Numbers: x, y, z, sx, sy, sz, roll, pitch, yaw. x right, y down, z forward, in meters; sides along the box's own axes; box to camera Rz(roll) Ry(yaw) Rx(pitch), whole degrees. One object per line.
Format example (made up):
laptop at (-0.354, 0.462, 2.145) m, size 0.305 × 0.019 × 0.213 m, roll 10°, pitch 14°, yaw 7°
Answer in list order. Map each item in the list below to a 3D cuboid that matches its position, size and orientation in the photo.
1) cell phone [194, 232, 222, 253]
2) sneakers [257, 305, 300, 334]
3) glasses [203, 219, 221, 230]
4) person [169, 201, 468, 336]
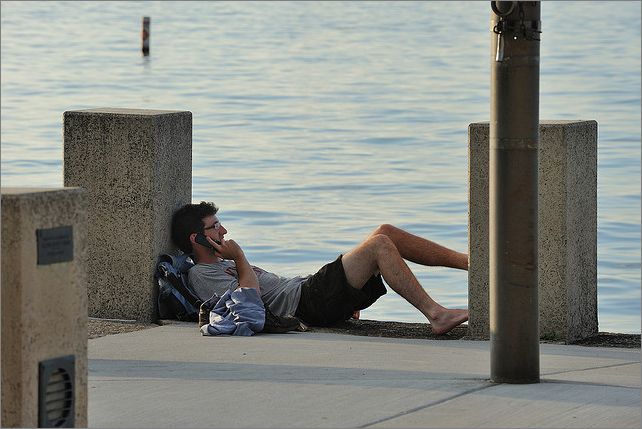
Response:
cell phone at (-1.192, 0.273, 15.289) m, size 0.308 × 0.140 × 0.066 m, roll 24°, pitch -4°, yaw -12°
sneakers at (-0.374, 1.073, 14.562) m, size 0.364 × 0.184 × 0.267 m, roll 1°, pitch 12°, yaw 1°
glasses at (-1.113, 0.092, 15.346) m, size 0.132 × 0.031 × 0.098 m, roll -12°, pitch 9°, yaw 12°
person at (0.027, 0.578, 15.225) m, size 2.862 × 0.867 × 1.373 m, roll 1°, pitch 3°, yaw 7°
